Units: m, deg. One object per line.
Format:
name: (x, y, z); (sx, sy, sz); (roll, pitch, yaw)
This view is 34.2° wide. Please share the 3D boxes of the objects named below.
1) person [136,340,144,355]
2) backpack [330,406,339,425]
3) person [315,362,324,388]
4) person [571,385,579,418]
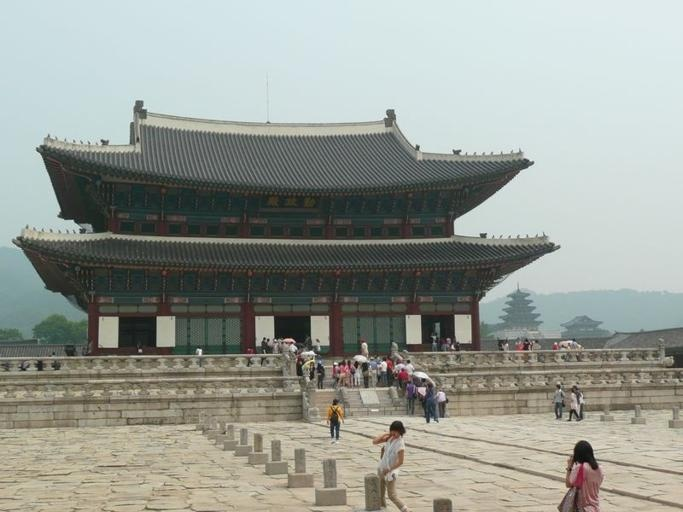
person: (-11.110, 5.131, 61.600); (0.313, 0.693, 1.060); (-1, -3, -11)
backpack: (-0.342, 6.462, 44.873); (0.433, 0.674, 0.312); (-3, -3, 18)
person: (-1.122, 6.167, 56.729); (0.360, 1.336, 1.083); (-2, -3, -2)
person: (10.943, 6.950, 51.951); (0.386, 1.571, 0.768); (-2, -3, 10)
